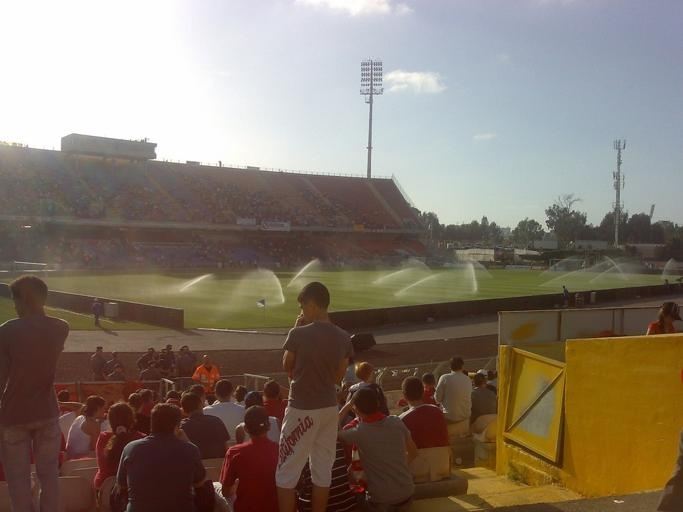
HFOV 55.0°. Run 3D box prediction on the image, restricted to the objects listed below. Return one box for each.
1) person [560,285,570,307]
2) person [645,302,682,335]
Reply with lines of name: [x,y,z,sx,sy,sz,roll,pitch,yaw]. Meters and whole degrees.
person: [9.434,1.704,27.702,0.297,0.861,1.516,1,-5,19]
person: [5.455,1.082,11.130,0.517,0.653,0.922,-2,2,37]
